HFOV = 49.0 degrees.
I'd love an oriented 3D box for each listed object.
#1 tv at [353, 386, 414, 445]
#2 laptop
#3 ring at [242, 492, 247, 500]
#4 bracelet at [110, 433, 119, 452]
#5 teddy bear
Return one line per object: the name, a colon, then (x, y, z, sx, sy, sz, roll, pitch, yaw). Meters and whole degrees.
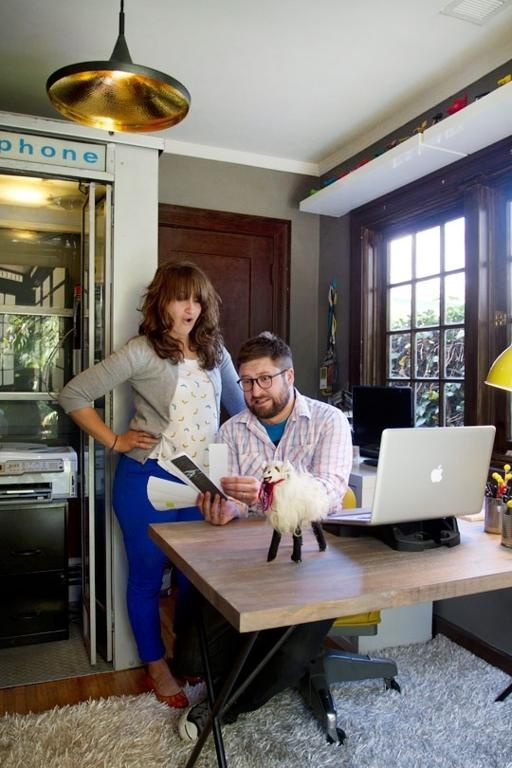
tv: (0.623, 0.141, 2.737, 0.032, 0.239, 0.325, -2, 0, -22)
laptop: (0.396, 0.212, 1.377, 0.319, 0.204, 0.269, 2, -3, -31)
ring: (-0.031, 0.302, 1.506, 0.015, 0.016, 0.013, 2, 0, -7)
bracelet: (-0.499, 0.213, 2.001, 0.011, 0.045, 0.046, 18, -5, -3)
teddy bear: (0.083, 0.270, 1.217, 0.115, 0.214, 0.214, -2, -5, 40)
